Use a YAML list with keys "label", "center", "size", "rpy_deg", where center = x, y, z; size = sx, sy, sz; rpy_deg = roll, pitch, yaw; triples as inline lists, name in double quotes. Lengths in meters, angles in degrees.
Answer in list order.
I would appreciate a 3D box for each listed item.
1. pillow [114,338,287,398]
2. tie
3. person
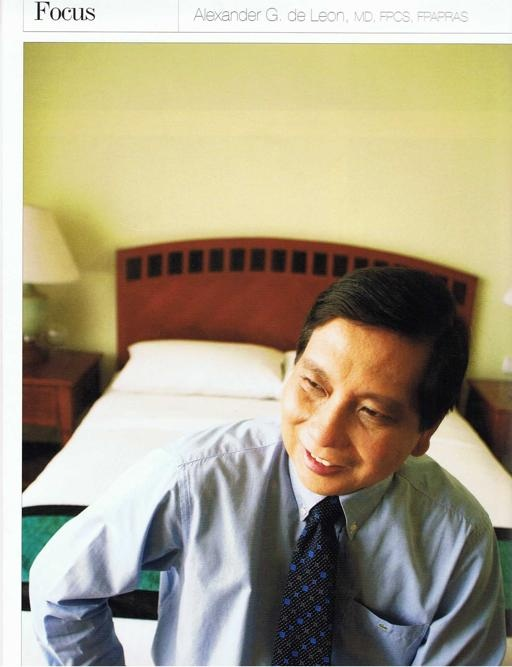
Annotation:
- label: "pillow"
  center: [-0.110, 0.082, 1.206]
  size: [0.276, 0.112, 0.070]
  rpy_deg: [1, -7, 2]
- label: "tie"
  center: [0.093, 0.431, 1.058]
  size: [0.099, 0.285, 0.073]
  rpy_deg: [2, 7, 9]
- label: "person"
  center: [0.035, 0.274, 1.120]
  size: [0.872, 0.785, 0.212]
  rpy_deg: [2, 7, 10]
